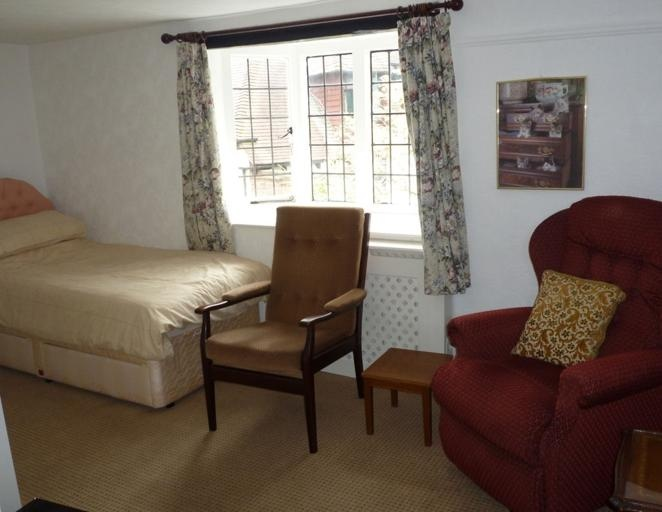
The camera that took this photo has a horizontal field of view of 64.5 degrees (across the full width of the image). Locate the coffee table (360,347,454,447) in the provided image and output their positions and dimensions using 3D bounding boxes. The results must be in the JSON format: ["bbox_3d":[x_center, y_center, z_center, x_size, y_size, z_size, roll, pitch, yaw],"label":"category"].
[{"bbox_3d":[0.451,0.751,3.193,0.483,0.447,0.508,3,7,25],"label":"coffee table"}]

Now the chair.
[{"bbox_3d":[-0.278,0.381,3.276,0.912,1.272,0.806,3,15,21],"label":"chair"}]

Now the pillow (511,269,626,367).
[{"bbox_3d":[1.187,0.332,2.682,0.141,0.464,0.463,24,-3,-42],"label":"pillow"}]

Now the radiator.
[{"bbox_3d":[0.352,0.315,3.392,0.857,1.093,0.084,1,5,27],"label":"radiator"}]
